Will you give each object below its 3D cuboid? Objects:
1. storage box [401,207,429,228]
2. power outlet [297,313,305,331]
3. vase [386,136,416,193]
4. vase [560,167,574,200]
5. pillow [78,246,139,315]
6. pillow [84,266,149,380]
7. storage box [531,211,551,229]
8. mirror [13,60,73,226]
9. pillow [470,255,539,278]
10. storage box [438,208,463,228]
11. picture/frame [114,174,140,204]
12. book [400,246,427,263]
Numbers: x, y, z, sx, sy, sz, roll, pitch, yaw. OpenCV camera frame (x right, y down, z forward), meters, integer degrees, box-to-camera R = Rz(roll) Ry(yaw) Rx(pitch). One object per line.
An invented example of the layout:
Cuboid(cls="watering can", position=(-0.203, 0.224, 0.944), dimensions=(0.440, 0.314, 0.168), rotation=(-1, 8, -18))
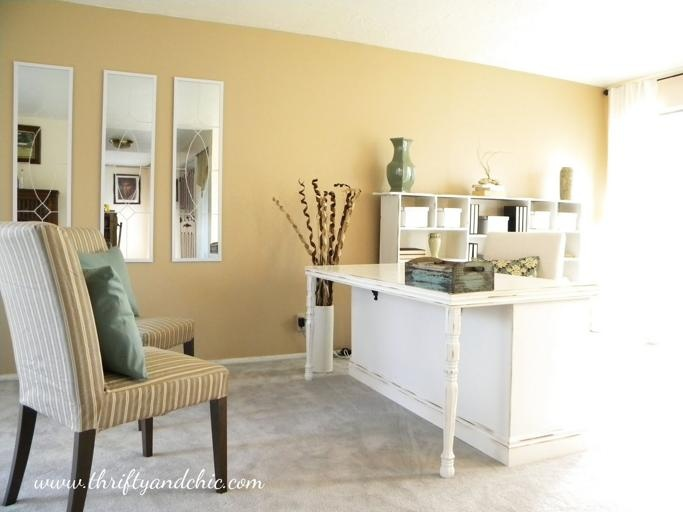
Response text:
Cuboid(cls="storage box", position=(0.714, -0.374, 5.056), dimensions=(0.213, 0.146, 0.224), rotation=(0, 2, 6))
Cuboid(cls="power outlet", position=(-0.402, 0.640, 4.968), dimensions=(0.077, 0.156, 0.028), rotation=(-1, 9, -11))
Cuboid(cls="vase", position=(0.560, -0.891, 5.052), dimensions=(0.288, 0.520, 0.217), rotation=(3, 9, 15))
Cuboid(cls="vase", position=(2.614, -0.830, 5.988), dimensions=(0.152, 0.364, 0.099), rotation=(2, -5, 40))
Cuboid(cls="pillow", position=(-1.577, 0.159, 3.553), dimensions=(0.150, 0.515, 0.514), rotation=(-9, 5, -28))
Cuboid(cls="pillow", position=(-1.155, 0.348, 2.623), dimensions=(0.236, 0.437, 0.480), rotation=(2, 6, -29))
Cuboid(cls="storage box", position=(2.224, -0.401, 5.780), dimensions=(0.188, 0.193, 0.104), rotation=(0, 2, -27))
Cuboid(cls="mirror", position=(-2.457, -0.912, 4.237), dimensions=(0.476, 1.287, 0.156), rotation=(-1, 9, -13))
Cuboid(cls="pillow", position=(1.246, 0.068, 3.772), dimensions=(0.327, 0.104, 0.294), rotation=(-3, 19, 11))
Cuboid(cls="storage box", position=(1.091, -0.386, 5.271), dimensions=(0.326, 0.242, 0.174), rotation=(-3, 7, -38))
Cuboid(cls="picture/frame", position=(-1.870, -0.580, 4.448), dimensions=(0.247, 0.317, 0.020), rotation=(-1, 0, -29))
Cuboid(cls="book", position=(0.714, -0.025, 5.124), dimensions=(0.179, 0.109, 0.440), rotation=(7, 10, 37))
